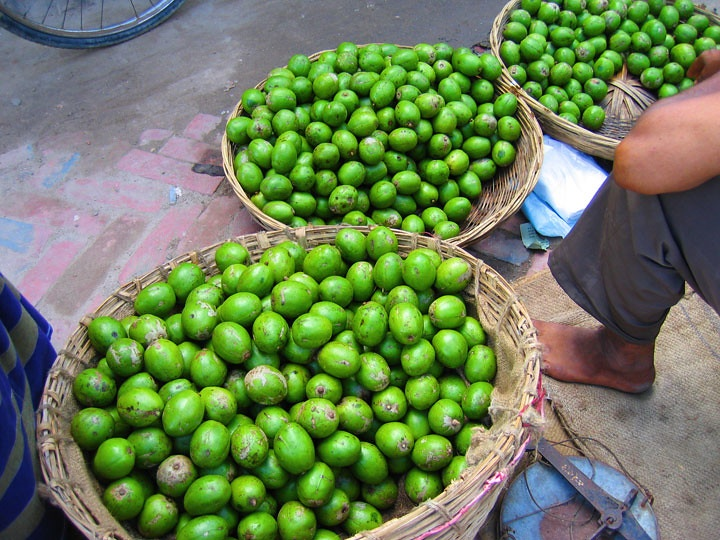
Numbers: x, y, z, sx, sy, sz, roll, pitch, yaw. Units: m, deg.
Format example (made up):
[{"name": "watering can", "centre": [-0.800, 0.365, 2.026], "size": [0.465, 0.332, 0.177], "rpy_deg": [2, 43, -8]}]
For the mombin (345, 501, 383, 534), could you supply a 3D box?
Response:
[{"name": "mombin", "centre": [0.017, 1.375, 3.215], "size": [0.170, 0.150, 0.136], "rpy_deg": [6, 23, 16]}]
